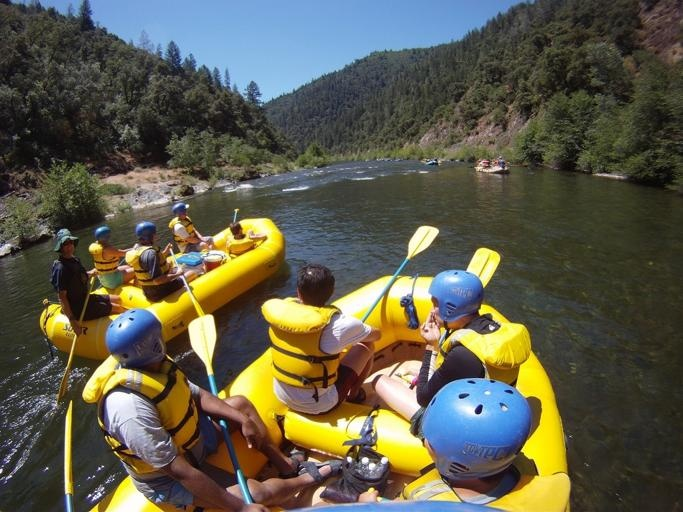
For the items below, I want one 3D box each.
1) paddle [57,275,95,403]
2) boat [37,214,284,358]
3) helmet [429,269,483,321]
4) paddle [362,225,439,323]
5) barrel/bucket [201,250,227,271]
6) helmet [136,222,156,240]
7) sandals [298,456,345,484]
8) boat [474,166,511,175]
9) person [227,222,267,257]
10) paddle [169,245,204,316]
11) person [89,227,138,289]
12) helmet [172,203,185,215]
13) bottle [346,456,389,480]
[{"bbox_3d":[-3.858,1.208,7.060,0.178,1.818,0.106,13,-9,12],"label":"paddle"},{"bbox_3d":[-2.576,0.480,8.647,2.330,0.943,4.056,6,28,36],"label":"boat"},{"bbox_3d":[1.215,0.398,5.186,0.564,0.454,0.444,4,8,26],"label":"helmet"},{"bbox_3d":[0.991,0.295,8.060,0.295,0.091,2.221,32,61,15],"label":"paddle"},{"bbox_3d":[-2.372,0.050,9.134,0.363,0.298,0.362,-2,12,0],"label":"barrel/bucket"},{"bbox_3d":[-3.176,-0.469,7.816,0.266,0.262,0.626,-16,20,-23],"label":"helmet"},{"bbox_3d":[-0.222,2.295,5.178,0.455,0.121,0.207,-5,35,-6],"label":"sandals"},{"bbox_3d":[7.722,-4.450,24.836,0.684,0.388,1.878,-8,11,-11],"label":"boat"},{"bbox_3d":[-1.904,-0.400,9.460,0.603,0.253,0.746,3,23,13],"label":"person"},{"bbox_3d":[-2.633,0.450,8.243,0.228,1.271,0.068,-19,-18,-13],"label":"paddle"},{"bbox_3d":[-3.870,-0.009,8.396,0.596,0.951,0.837,11,18,43],"label":"person"},{"bbox_3d":[-3.155,-0.952,9.457,0.233,0.236,0.467,-14,19,-19],"label":"helmet"},{"bbox_3d":[0.277,2.198,5.008,0.306,0.137,0.242,0,7,2],"label":"bottle"}]
